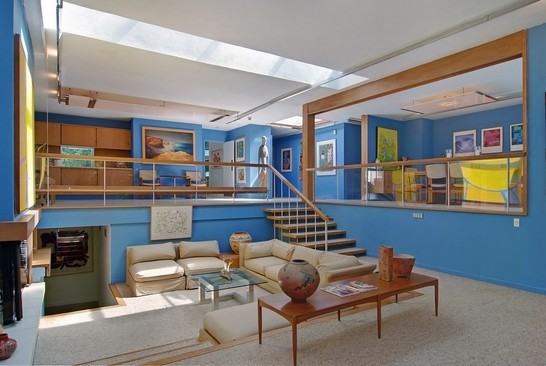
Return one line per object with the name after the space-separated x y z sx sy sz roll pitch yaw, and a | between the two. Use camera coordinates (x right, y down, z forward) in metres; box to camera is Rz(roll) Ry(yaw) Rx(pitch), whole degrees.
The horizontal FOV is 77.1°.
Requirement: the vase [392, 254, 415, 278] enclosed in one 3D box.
1.953 1.251 5.166 0.443 0.285 0.424 1 -2 28 | vase

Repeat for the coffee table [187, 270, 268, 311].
-0.898 1.823 6.329 0.869 0.381 0.824 0 -1 -32 | coffee table

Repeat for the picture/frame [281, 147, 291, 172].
0.637 -1.051 15.231 0.205 1.092 0.934 -3 13 -24 | picture/frame

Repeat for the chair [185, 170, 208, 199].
-2.760 -0.026 12.674 0.830 0.869 0.811 -7 -8 -5 | chair

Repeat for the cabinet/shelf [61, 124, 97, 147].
-6.629 -1.621 11.932 1.193 0.742 0.601 2 1 -4 | cabinet/shelf

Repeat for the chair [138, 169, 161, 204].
-4.097 0.008 11.415 0.712 1.203 2.373 -2 12 -19 | chair

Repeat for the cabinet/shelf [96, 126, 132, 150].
-5.680 -1.580 12.259 1.436 0.879 0.712 1 -3 -35 | cabinet/shelf

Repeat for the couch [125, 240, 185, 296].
-2.442 1.728 7.141 1.126 0.871 1.032 1 -4 -29 | couch

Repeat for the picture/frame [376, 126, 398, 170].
4.137 -1.412 12.282 1.243 1.192 0.424 -8 16 -40 | picture/frame

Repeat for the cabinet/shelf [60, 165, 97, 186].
-6.208 -0.213 10.993 1.065 0.644 0.552 0 -1 -36 | cabinet/shelf

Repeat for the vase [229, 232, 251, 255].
-0.818 1.504 8.634 0.563 0.447 0.522 1 -6 -10 | vase

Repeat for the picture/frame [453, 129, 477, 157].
6.451 -1.366 11.516 0.195 0.900 0.874 -2 13 -21 | picture/frame

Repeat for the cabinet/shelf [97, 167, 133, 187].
-5.194 -0.197 11.218 0.742 0.600 0.289 0 3 -31 | cabinet/shelf

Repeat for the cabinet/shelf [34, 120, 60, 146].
-7.445 -1.627 11.223 0.349 0.777 0.916 8 8 18 | cabinet/shelf

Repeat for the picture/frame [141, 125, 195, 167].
-3.778 -1.343 12.100 2.046 1.219 0.080 2 -3 -32 | picture/frame

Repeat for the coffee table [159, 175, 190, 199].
-3.678 0.135 12.497 1.058 0.662 1.024 -1 -1 27 | coffee table

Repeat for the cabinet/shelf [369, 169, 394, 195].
2.754 -0.033 8.695 0.372 0.558 0.633 0 1 -24 | cabinet/shelf

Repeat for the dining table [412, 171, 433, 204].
3.391 0.051 7.975 0.609 0.793 0.560 3 2 44 | dining table

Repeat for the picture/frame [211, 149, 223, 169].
-2.273 -1.000 14.197 0.045 1.088 1.191 3 -5 -32 | picture/frame

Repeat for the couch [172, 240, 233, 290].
-1.580 1.792 7.694 1.179 0.829 1.105 4 5 -45 | couch

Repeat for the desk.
1.032 1.738 4.695 2.416 0.685 0.766 -3 13 -23 | desk

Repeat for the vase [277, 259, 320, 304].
0.387 1.309 4.541 0.583 0.463 0.615 10 -13 -37 | vase

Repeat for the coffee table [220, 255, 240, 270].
-0.995 1.973 8.103 0.366 0.386 0.667 2 -4 -19 | coffee table
